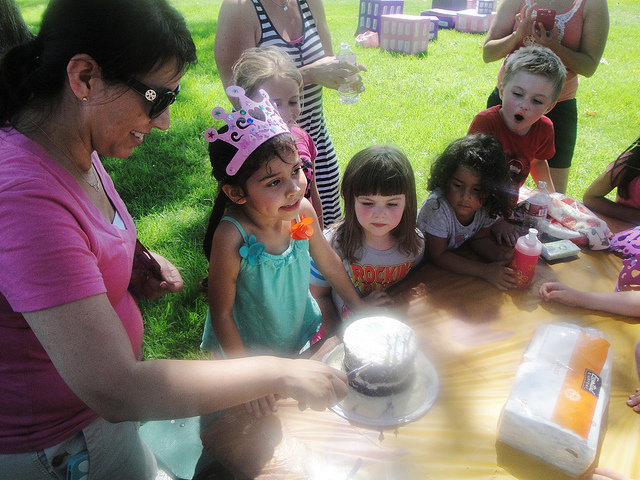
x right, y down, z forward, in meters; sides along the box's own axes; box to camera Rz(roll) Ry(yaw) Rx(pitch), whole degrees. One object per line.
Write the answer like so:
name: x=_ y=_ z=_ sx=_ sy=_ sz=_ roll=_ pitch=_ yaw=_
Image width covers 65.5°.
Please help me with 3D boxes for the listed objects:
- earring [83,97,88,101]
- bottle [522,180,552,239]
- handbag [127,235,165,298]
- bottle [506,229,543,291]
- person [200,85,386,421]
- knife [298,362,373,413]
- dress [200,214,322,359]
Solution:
earring: x=-0.757 y=-0.457 z=1.608 sx=0.005 sy=0.013 sz=0.011 roll=23 pitch=48 yaw=33
bottle: x=1.391 y=-0.185 z=3.210 sx=0.161 sy=0.465 sz=0.167 roll=-6 pitch=43 yaw=6
handbag: x=-0.784 y=0.127 z=2.220 sx=0.161 sy=0.071 sz=0.220 roll=-12 pitch=50 yaw=-47
bottle: x=1.132 y=0.089 z=2.730 sx=0.176 sy=0.320 sz=0.187 roll=-2 pitch=31 yaw=1
person: x=-0.253 y=0.212 z=2.526 sx=0.734 sy=1.741 sz=0.869 roll=16 pitch=32 yaw=31
knife: x=0.054 y=0.562 z=1.886 sx=0.342 sy=0.055 sz=0.057 roll=-32 pitch=56 yaw=-7
dress: x=-0.219 y=0.257 z=2.548 sx=0.488 sy=0.820 sz=0.326 roll=-19 pitch=39 yaw=-14
